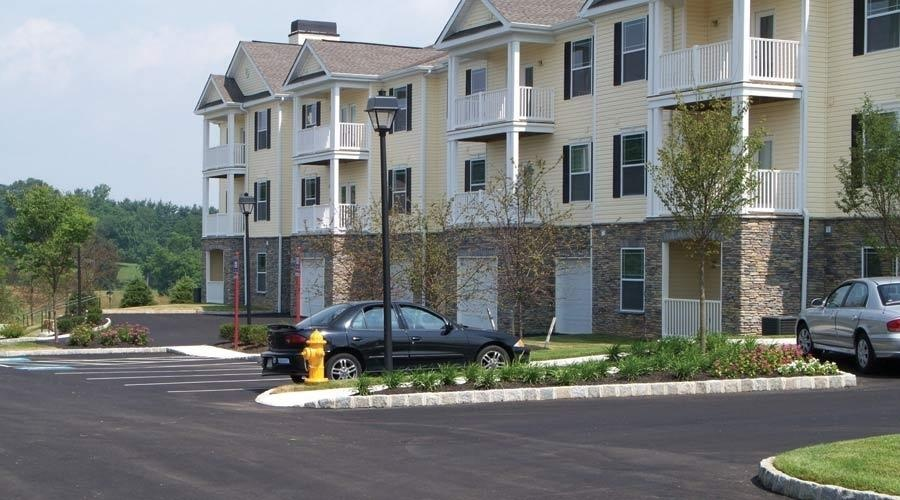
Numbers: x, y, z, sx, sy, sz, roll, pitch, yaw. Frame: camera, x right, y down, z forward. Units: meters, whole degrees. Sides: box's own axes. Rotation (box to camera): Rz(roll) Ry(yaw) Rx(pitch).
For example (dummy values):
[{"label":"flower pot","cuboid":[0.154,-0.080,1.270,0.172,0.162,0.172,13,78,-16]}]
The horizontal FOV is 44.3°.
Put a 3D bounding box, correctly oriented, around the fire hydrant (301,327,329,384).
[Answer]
[{"label":"fire hydrant","cuboid":[-3.947,3.069,31.953,0.632,1.472,0.722,-4,15,-9]}]
